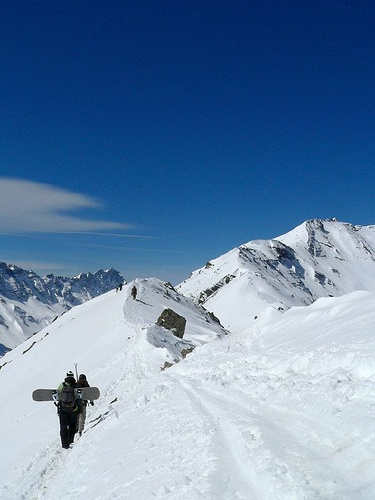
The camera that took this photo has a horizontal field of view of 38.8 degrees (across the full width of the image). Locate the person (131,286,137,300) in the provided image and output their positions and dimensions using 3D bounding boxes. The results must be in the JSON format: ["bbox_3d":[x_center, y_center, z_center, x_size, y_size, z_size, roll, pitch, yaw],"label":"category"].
[{"bbox_3d":[-7.884,6.435,78.563,0.671,1.744,0.611,6,-27,-10],"label":"person"}]

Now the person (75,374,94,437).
[{"bbox_3d":[-3.652,5.350,18.379,0.651,2.082,0.331,5,4,14],"label":"person"}]
